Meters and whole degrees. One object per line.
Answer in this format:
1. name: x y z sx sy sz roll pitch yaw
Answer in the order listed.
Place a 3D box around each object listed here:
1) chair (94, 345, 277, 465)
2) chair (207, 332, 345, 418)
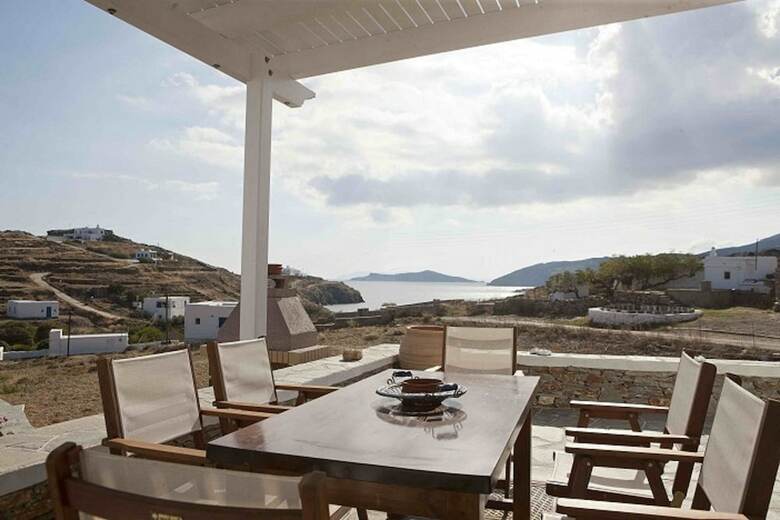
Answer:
1. chair: -1.349 0.754 3.264 0.849 1.139 0.825 -8 -7 27
2. chair: -0.826 0.685 3.485 0.598 0.793 0.659 -5 -7 33
